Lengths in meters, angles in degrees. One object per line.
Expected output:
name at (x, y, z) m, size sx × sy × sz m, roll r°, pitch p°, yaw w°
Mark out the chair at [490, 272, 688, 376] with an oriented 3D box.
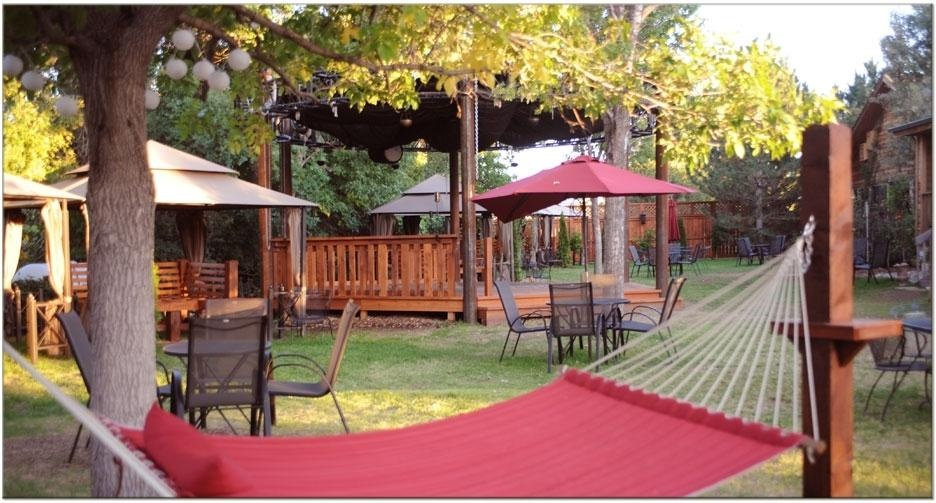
chair at (2.337, 1.376, 17.695) m, size 3.371 × 1.656 × 3.109 m, roll -1°, pitch -2°, yaw 10°
